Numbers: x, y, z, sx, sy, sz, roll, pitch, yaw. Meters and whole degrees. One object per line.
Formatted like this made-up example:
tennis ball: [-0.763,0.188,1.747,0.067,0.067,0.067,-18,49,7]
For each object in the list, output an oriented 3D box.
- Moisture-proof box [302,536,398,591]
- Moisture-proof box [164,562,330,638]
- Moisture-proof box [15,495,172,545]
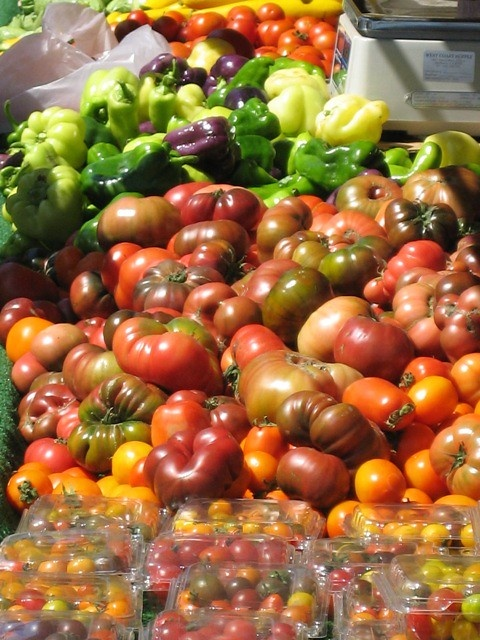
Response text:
Moisture-proof box: [0.181,0.412,0.886,0.107,0.032,0.074,-3,11,-12]
Moisture-proof box: [0.016,0.399,0.767,0.142,0.047,0.120,2,13,3]
Moisture-proof box: [-0.290,0.386,1.033,0.147,0.048,0.127,2,3,6]
